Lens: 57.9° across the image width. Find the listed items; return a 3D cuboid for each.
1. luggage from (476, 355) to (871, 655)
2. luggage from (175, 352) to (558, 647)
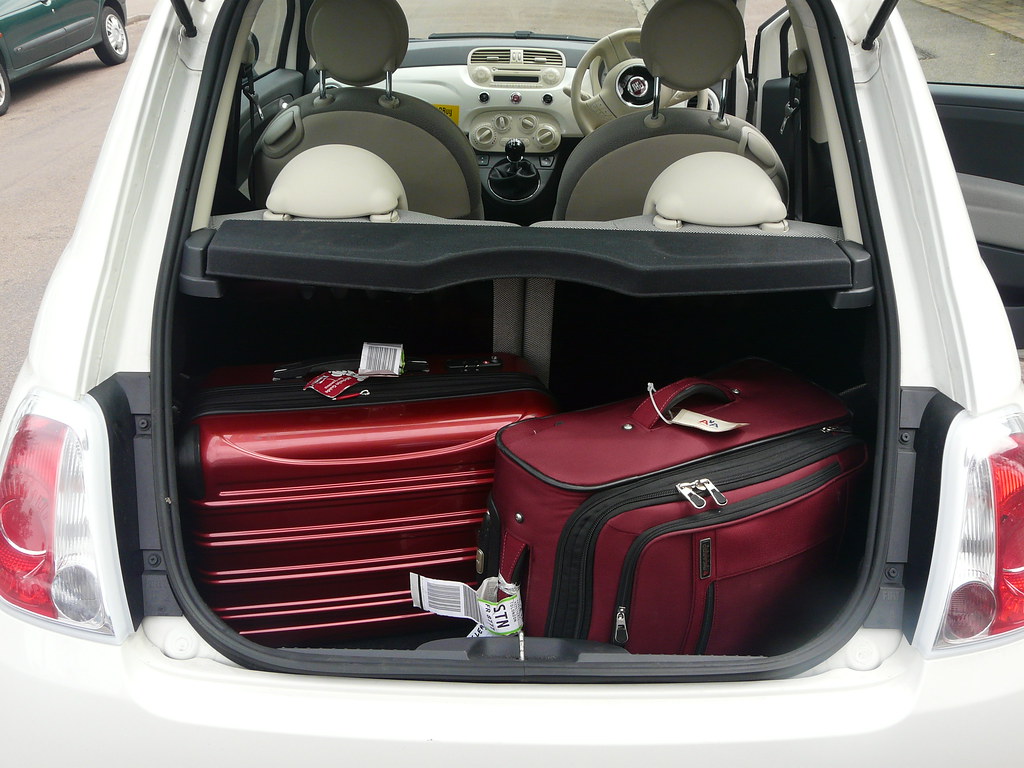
[{"bbox_3d":[0.310,0.247,1.624,0.640,0.512,0.407,-12,24,-21],"label":"luggage"},{"bbox_3d":[-0.303,0.207,1.692,0.537,0.424,0.321,-6,25,-23],"label":"luggage"}]
